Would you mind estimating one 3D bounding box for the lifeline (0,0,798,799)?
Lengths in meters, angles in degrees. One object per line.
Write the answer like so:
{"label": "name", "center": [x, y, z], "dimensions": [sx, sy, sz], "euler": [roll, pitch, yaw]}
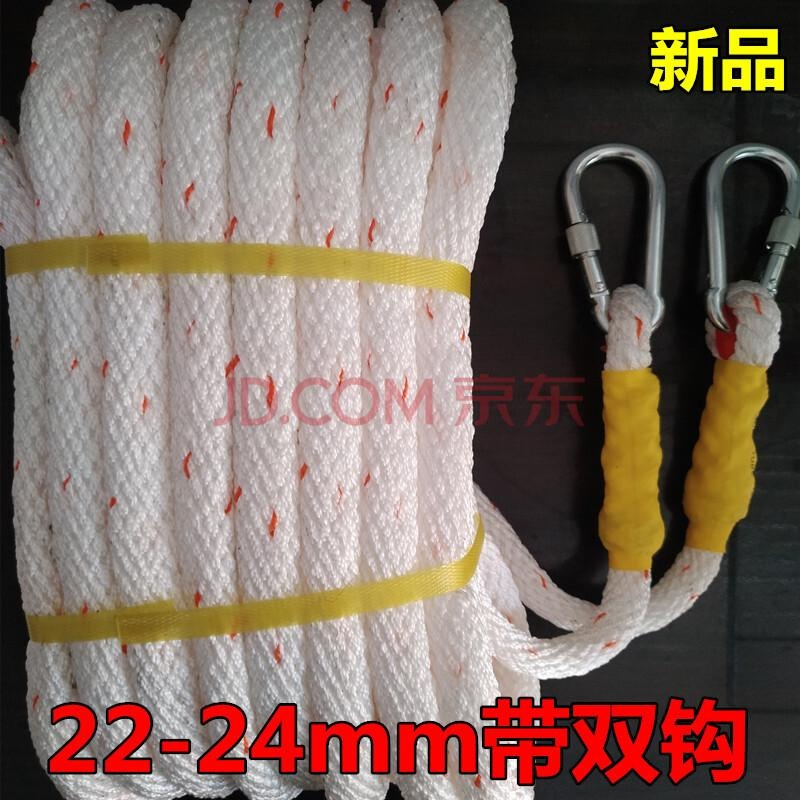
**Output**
{"label": "lifeline", "center": [-0.034, -0.016, 1.615], "dimensions": [1.018, 1.153, 0.296], "euler": [-1, 0, -10]}
